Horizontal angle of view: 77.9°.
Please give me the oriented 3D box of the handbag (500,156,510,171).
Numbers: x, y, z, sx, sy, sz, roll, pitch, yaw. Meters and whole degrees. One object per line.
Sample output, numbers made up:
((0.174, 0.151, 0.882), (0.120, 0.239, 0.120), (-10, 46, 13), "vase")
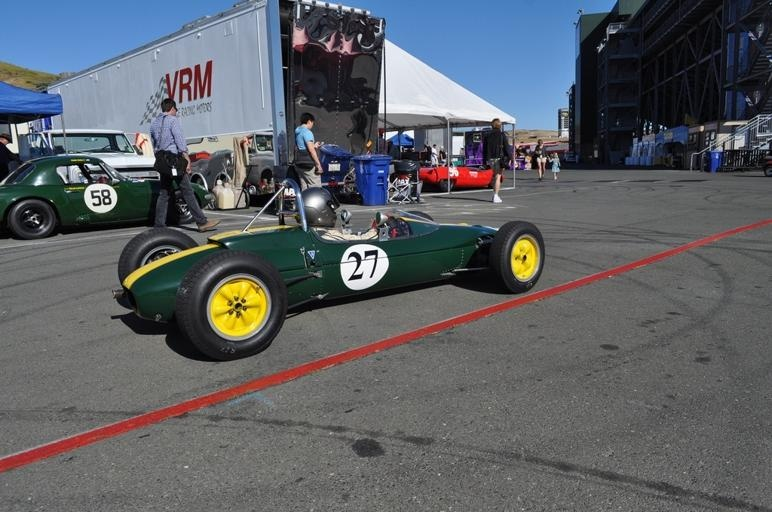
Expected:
((2.972, -2.378, 12.110), (0.215, 0.334, 0.113), (1, 8, -21), "handbag")

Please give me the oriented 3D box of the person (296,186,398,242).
((-0.391, -0.431, 4.833), (0.862, 0.424, 0.482), (-6, 11, -24), "person")

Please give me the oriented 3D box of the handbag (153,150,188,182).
((-3.618, -1.546, 8.104), (0.375, 0.521, 0.209), (8, -5, 2), "handbag")

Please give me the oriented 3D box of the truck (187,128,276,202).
((-3.759, -2.354, 12.100), (2.598, 1.296, 1.535), (11, 21, 39), "truck")

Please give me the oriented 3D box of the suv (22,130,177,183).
((-6.257, -2.230, 10.610), (2.790, 1.374, 1.971), (4, 10, 37), "suv")

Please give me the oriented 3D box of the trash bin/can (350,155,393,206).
((-0.062, -2.000, 12.490), (0.774, 1.232, 0.926), (-2, 8, 12), "trash bin/can")

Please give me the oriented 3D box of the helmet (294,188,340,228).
((-0.674, -0.489, 4.771), (0.350, 0.401, 0.437), (5, 11, 43), "helmet")

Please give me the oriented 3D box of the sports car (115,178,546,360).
((-0.348, 0.010, 4.539), (3.411, 1.176, 1.885), (-10, 14, -30), "sports car")

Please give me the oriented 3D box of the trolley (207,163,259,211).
((-3.959, -1.683, 12.335), (1.185, 1.413, 0.808), (-1, 4, -29), "trolley")

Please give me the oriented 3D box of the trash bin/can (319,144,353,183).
((-1.460, -2.392, 12.719), (0.879, 1.085, 0.906), (6, 5, -35), "trash bin/can")

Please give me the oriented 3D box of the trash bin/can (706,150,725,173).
((17.260, -5.005, 25.111), (1.022, 0.956, 0.587), (-14, 20, -39), "trash bin/can")

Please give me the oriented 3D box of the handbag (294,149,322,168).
((-1.642, -1.872, 9.552), (0.288, 0.296, 0.416), (-5, -20, 2), "handbag")
